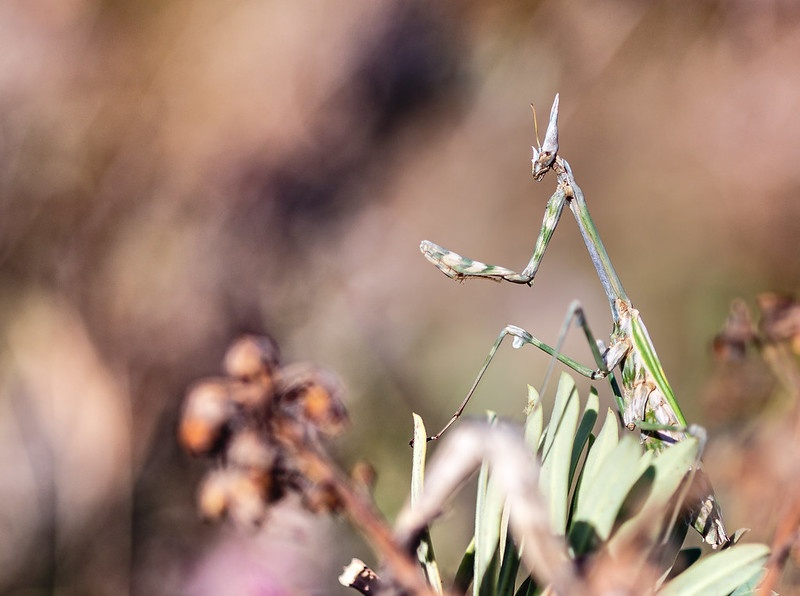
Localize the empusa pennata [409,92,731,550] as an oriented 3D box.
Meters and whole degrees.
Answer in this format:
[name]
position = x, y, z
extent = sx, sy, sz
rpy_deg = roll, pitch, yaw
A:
[empusa pennata]
position = 0.160, 0.034, 0.966
extent = 0.271, 0.442, 0.282
rpy_deg = 0, 14, 5
